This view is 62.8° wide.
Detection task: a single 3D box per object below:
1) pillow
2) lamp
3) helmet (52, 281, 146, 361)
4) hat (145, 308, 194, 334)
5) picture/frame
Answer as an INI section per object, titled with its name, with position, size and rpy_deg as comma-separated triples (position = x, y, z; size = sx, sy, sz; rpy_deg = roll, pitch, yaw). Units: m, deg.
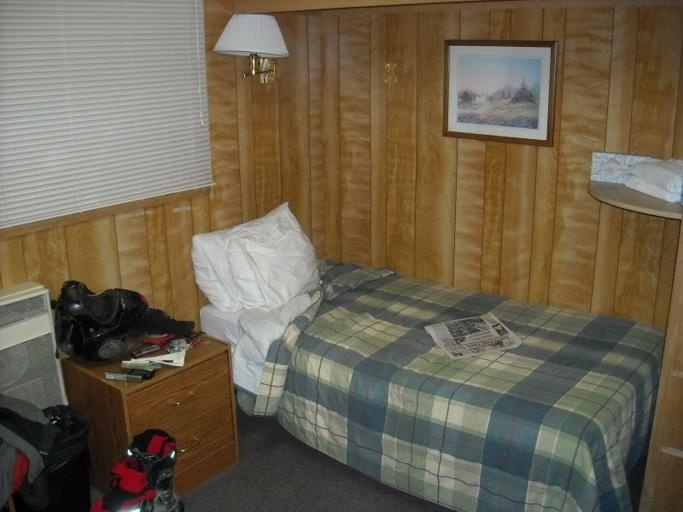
[pillow]
position = -0.471, 0.040, 3.133
size = 0.561, 0.567, 0.168
rpy_deg = -19, -10, -37
[lamp]
position = -0.516, -1.152, 3.101
size = 0.383, 0.356, 0.465
rpy_deg = -4, 19, -11
[helmet]
position = -1.073, 0.294, 2.613
size = 0.421, 0.262, 0.301
rpy_deg = -20, 60, -28
[hat]
position = -0.863, 0.325, 2.799
size = 0.222, 0.104, 0.089
rpy_deg = 3, -20, -14
[picture/frame]
position = 0.902, -0.921, 3.075
size = 0.602, 0.510, 0.045
rpy_deg = 8, 18, 31
